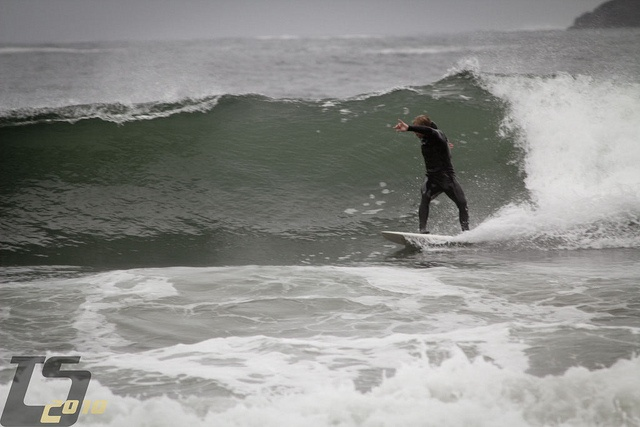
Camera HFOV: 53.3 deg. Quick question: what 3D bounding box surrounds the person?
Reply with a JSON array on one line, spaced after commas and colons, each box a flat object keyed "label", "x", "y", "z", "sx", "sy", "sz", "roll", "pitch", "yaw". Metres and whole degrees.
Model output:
[{"label": "person", "x": 1.332, "y": -0.468, "z": 7.479, "sx": 0.734, "sy": 1.414, "sz": 0.936, "roll": 1, "pitch": -4, "yaw": 20}]
